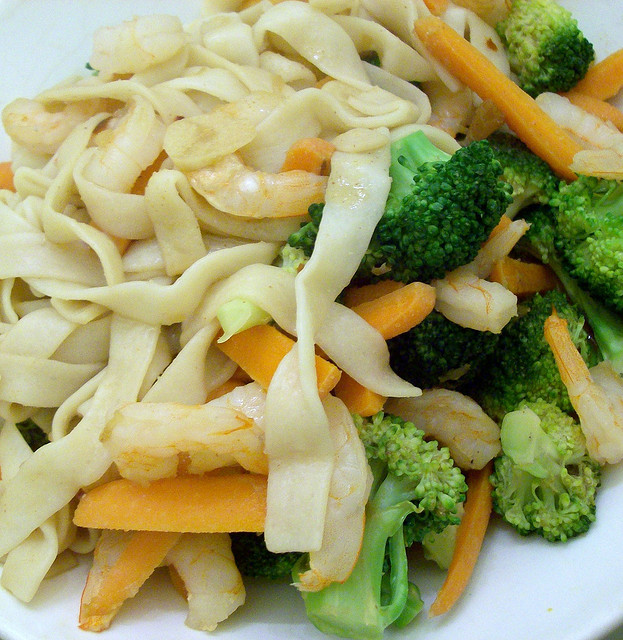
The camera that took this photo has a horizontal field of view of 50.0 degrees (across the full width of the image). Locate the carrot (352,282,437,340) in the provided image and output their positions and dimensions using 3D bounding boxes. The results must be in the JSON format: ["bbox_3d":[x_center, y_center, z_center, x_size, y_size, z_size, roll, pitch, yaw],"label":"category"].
[{"bbox_3d":[0.193,-0.022,1.538,0.096,0.187,0.061,55,30,-6],"label":"carrot"}]

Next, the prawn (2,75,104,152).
[{"bbox_3d":[-0.694,-0.530,1.799,0.246,0.173,0.197,-25,115,-12],"label":"prawn"}]

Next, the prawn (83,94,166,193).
[{"bbox_3d":[-0.447,-0.420,1.585,0.160,0.076,0.261,32,70,8],"label":"prawn"}]

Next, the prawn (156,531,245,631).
[{"bbox_3d":[-0.255,0.591,1.550,0.169,0.166,0.220,2,98,-5],"label":"prawn"}]

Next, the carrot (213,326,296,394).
[{"bbox_3d":[-0.089,0.088,1.488,0.133,0.206,0.053,-54,133,-9],"label":"carrot"}]

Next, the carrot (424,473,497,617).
[{"bbox_3d":[0.368,0.499,1.605,0.109,0.105,0.393,5,52,31],"label":"carrot"}]

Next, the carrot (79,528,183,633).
[{"bbox_3d":[-0.430,0.588,1.522,0.182,0.085,0.240,15,69,2],"label":"carrot"}]

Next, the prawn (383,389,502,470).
[{"bbox_3d":[0.338,0.224,1.639,0.201,0.234,0.197,-4,101,-36],"label":"prawn"}]

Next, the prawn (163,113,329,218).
[{"bbox_3d":[-0.167,-0.337,1.511,0.306,0.071,0.229,25,46,-15],"label":"prawn"}]

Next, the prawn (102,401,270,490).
[{"bbox_3d":[-0.277,0.223,1.418,0.313,0.235,0.169,-10,93,-24],"label":"prawn"}]

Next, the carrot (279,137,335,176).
[{"bbox_3d":[-0.014,-0.376,1.599,0.109,0.091,0.095,14,72,3],"label":"carrot"}]

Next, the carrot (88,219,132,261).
[{"bbox_3d":[-0.468,-0.188,1.617,0.105,0.099,0.030,23,43,-18],"label":"carrot"}]

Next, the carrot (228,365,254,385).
[{"bbox_3d":[-0.166,0.128,1.579,0.051,0.014,0.043,10,95,9],"label":"carrot"}]

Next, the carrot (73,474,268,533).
[{"bbox_3d":[-0.295,0.398,1.454,0.397,0.096,0.112,2,83,1],"label":"carrot"}]

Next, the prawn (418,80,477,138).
[{"bbox_3d":[0.371,-0.570,1.790,0.174,0.050,0.147,0,97,28],"label":"prawn"}]

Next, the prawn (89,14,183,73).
[{"bbox_3d":[-0.443,-0.696,1.683,0.236,0.082,0.099,-14,72,-9],"label":"prawn"}]

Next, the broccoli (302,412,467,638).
[{"bbox_3d":[0.159,0.459,1.637,0.382,0.415,0.479,7,100,-34],"label":"broccoli"}]

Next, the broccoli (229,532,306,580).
[{"bbox_3d":[-0.103,0.577,1.672,0.185,0.128,0.077,8,41,-5],"label":"broccoli"}]

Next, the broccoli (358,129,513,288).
[{"bbox_3d":[0.341,-0.270,1.607,0.334,0.349,0.174,-40,93,-3],"label":"broccoli"}]

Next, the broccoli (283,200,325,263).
[{"bbox_3d":[-0.008,-0.218,1.526,0.058,0.150,0.136,25,49,8],"label":"broccoli"}]

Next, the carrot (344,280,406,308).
[{"bbox_3d":[0.141,-0.066,1.594,0.089,0.087,0.019,-3,71,-46],"label":"carrot"}]

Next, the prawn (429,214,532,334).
[{"bbox_3d":[0.377,-0.104,1.583,0.191,0.161,0.313,1,101,-10],"label":"prawn"}]
